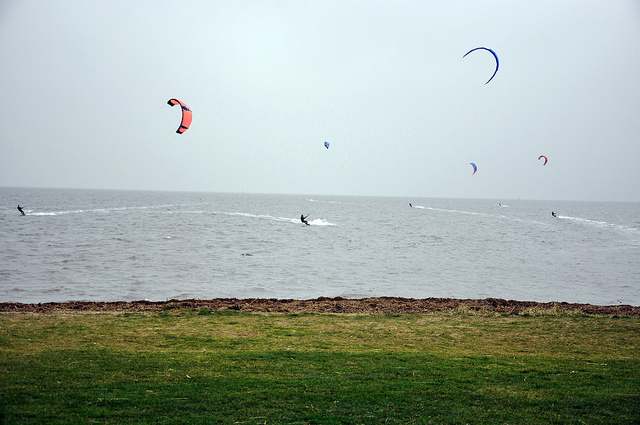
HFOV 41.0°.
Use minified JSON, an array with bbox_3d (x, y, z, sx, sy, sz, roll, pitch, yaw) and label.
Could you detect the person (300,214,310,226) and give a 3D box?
[{"bbox_3d":[-2.386,0.948,115.370,1.067,1.425,0.664,22,1,-29],"label":"person"}]
